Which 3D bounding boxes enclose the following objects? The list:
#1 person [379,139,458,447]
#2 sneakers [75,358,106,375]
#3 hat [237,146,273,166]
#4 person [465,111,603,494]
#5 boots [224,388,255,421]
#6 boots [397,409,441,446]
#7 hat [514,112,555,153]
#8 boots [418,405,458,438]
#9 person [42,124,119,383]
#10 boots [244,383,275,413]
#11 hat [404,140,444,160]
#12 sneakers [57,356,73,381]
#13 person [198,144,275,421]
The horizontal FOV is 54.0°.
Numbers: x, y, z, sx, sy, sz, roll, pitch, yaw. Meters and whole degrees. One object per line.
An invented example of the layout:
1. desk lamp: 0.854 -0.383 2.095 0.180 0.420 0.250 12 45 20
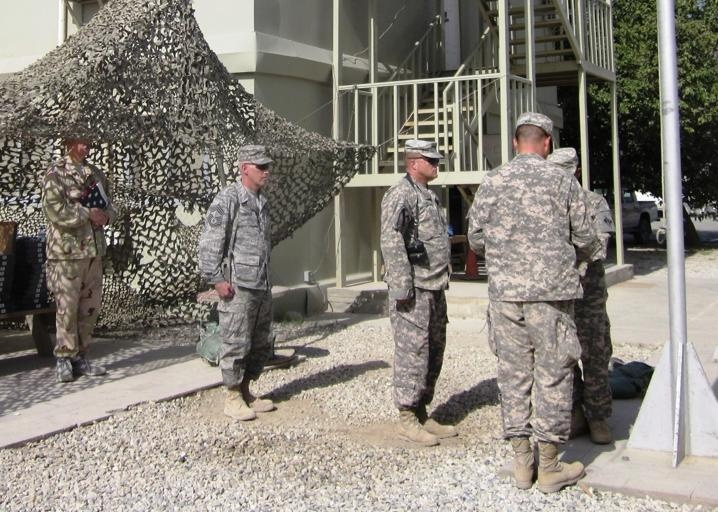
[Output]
1. person: 0.425 0.256 5.225 0.597 2.226 0.349 -3 6 -35
2. sneakers: -2.543 1.055 6.703 0.306 0.147 0.132 4 2 5
3. hat: -0.841 -0.815 5.714 0.192 0.114 0.162 4 10 8
4. person: 1.119 0.282 4.518 0.800 2.388 0.402 2 5 22
5. boots: -1.026 1.207 5.760 0.354 0.292 0.141 3 1 39
6. boots: 0.503 1.256 5.229 0.360 0.316 0.162 1 1 27
7. hat: 1.162 -0.778 4.674 0.197 0.289 0.228 -2 49 6
8. boots: 0.598 1.264 5.421 0.335 0.270 0.160 -6 7 16
9. person: -2.603 0.015 6.581 0.593 2.240 0.367 -3 5 -28
10. boots: -0.842 1.195 5.869 0.317 0.249 0.148 -1 2 5
11. hat: 0.483 -0.793 5.259 0.208 0.098 0.167 15 13 10
12. sneakers: -2.704 1.051 6.497 0.142 0.205 0.169 -3 6 -25
13. person: -0.975 0.356 5.720 0.606 1.901 0.381 -2 5 -23
